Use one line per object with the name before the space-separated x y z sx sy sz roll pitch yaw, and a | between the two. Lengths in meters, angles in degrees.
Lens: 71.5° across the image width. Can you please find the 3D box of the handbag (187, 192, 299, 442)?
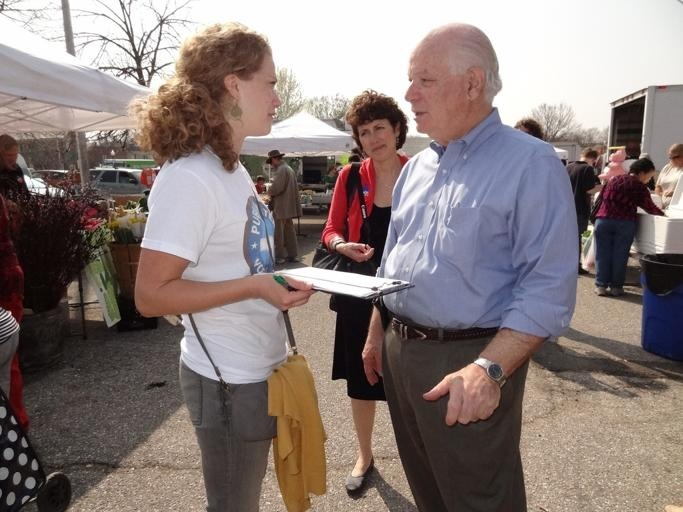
handbag | -0.428 0.222 2.055 0.485 0.962 0.214 -15 9 0

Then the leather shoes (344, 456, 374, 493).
leather shoes | 0.116 1.441 3.133 0.094 0.081 0.267 -1 4 23

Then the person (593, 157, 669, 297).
person | 3.836 -0.249 6.613 0.581 1.732 0.921 6 11 20

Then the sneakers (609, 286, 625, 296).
sneakers | 3.999 0.515 6.941 0.130 0.104 0.307 2 -2 37

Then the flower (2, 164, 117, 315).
flower | -2.816 -0.100 5.142 1.211 1.394 1.077 17 10 -35

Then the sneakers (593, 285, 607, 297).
sneakers | 3.800 0.519 6.986 0.092 0.109 0.252 2 8 9

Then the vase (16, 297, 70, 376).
vase | -2.865 0.784 4.677 0.497 0.443 0.490 -1 15 -20

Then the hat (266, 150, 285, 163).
hat | -1.534 -2.290 10.682 0.397 0.176 0.444 -19 -7 0
